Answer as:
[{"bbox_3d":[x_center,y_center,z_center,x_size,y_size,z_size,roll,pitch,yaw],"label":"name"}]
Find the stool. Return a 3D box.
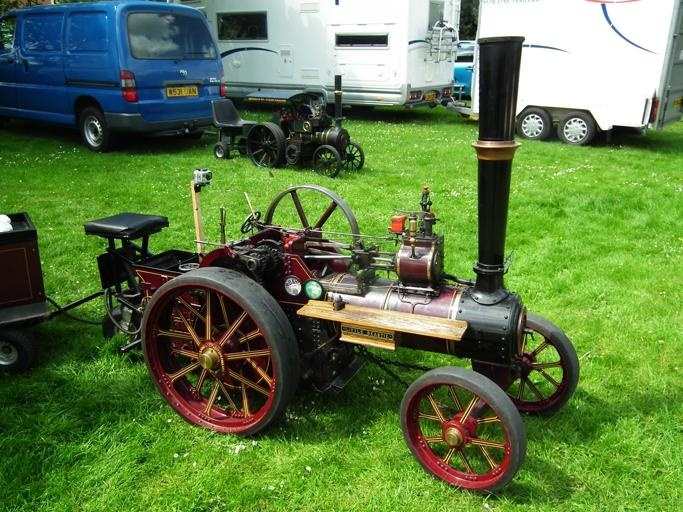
[{"bbox_3d":[-1.840,-0.038,4.583,0.493,0.613,0.478,8,22,23],"label":"stool"}]

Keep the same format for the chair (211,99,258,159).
[{"bbox_3d":[-1.997,-2.323,9.770,0.663,0.988,0.848,12,21,22],"label":"chair"}]
